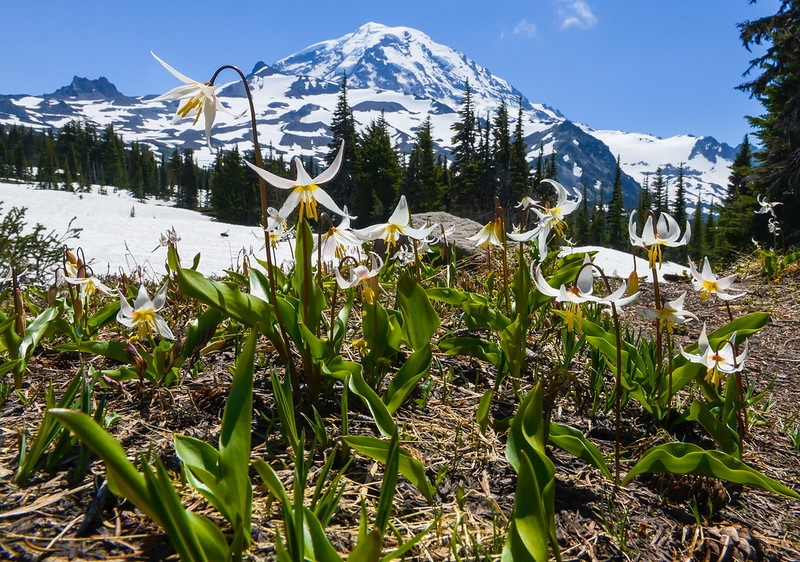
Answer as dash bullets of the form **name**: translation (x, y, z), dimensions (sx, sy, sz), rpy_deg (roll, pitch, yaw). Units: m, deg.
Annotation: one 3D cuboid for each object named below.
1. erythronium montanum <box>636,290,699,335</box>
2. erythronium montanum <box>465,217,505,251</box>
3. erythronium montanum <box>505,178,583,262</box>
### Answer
- **erythronium montanum**: translation (1.645, 0.217, 4.222), dimensions (0.298, 0.204, 0.294), rpy_deg (31, -25, -27)
- **erythronium montanum**: translation (0.705, -0.375, 5.475), dimensions (0.194, 0.258, 0.515), rpy_deg (2, 7, 5)
- **erythronium montanum**: translation (1.063, -0.448, 4.956), dimensions (0.465, 0.563, 0.974), rpy_deg (3, 7, 16)
